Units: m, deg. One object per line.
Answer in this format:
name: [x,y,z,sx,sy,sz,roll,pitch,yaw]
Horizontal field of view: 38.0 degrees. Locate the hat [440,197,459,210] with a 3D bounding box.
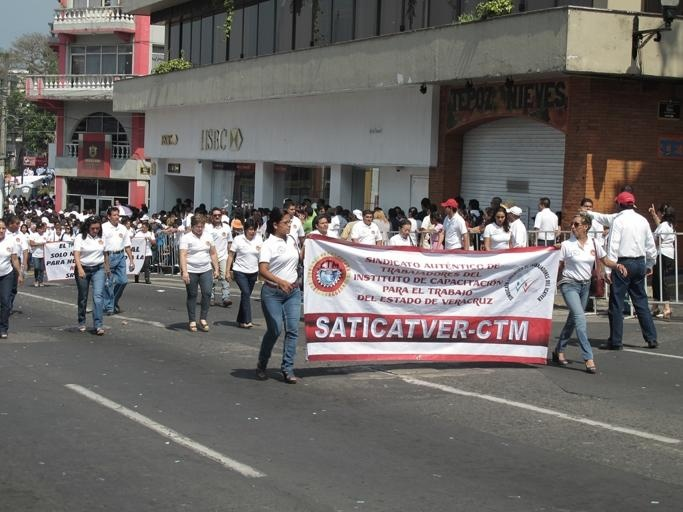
hat: [2.231,-1.093,21.200,0.515,0.257,0.361,6,9,29]

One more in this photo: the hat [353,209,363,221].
hat: [0.416,-0.948,23.252,0.233,0.098,0.315,2,25,-12]

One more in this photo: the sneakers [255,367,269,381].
sneakers: [-1.138,1.741,14.433,0.120,0.129,0.190,1,-16,-6]

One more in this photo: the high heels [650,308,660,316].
high heels: [6.218,1.103,19.609,0.139,0.242,0.137,-1,5,-1]

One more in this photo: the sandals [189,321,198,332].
sandals: [-2.694,1.306,18.143,0.156,0.192,0.495,0,-4,-14]

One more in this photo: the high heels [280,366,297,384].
high heels: [-0.732,1.710,14.223,0.131,0.146,0.353,-1,0,-27]

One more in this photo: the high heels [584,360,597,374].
high heels: [3.829,1.648,15.125,0.173,0.234,0.457,3,10,15]

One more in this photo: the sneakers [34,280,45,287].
sneakers: [-8.305,0.797,27.465,0.157,0.177,0.454,1,-2,-19]

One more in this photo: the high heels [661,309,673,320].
high heels: [6.416,1.169,19.492,0.198,0.200,0.162,1,-5,11]
